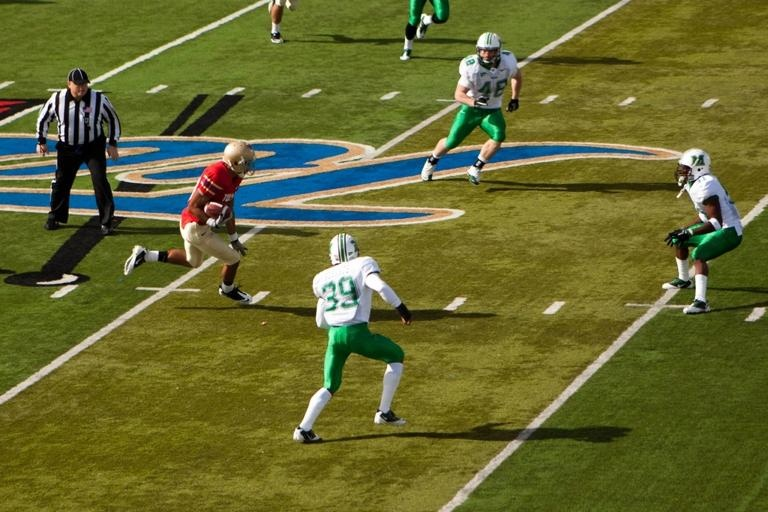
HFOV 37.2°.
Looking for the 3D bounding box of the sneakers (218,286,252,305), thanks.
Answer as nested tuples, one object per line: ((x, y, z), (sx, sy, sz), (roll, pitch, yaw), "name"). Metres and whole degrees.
((-1.696, 0.453, 13.058), (0.490, 0.150, 0.131), (10, 36, -16), "sneakers")

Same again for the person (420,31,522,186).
((1.236, -2.039, 16.227), (1.358, 2.162, 0.831), (2, 24, 2), "person")

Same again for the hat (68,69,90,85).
((-3.908, -2.246, 14.525), (0.194, 0.175, 0.279), (-7, 19, -20), "hat")

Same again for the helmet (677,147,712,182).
((3.486, -0.996, 12.862), (0.282, 0.368, 0.321), (-4, 21, -12), "helmet")

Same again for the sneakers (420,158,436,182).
((0.647, -1.239, 16.582), (0.200, 0.320, 0.222), (6, 0, -36), "sneakers")

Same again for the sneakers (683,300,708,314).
((3.466, 0.546, 12.611), (0.285, 0.173, 0.178), (3, 20, 8), "sneakers")

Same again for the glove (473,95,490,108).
((1.357, -2.138, 15.994), (0.191, 0.137, 0.190), (4, 19, 9), "glove")

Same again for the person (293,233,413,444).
((-0.304, 0.760, 10.530), (1.059, 1.890, 0.852), (1, 24, 0), "person")

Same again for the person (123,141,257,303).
((-2.071, -0.341, 12.833), (1.232, 1.850, 0.553), (-1, 25, -4), "person")

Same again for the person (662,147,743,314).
((3.593, -0.290, 12.764), (0.803, 1.711, 1.162), (7, 23, 12), "person")
